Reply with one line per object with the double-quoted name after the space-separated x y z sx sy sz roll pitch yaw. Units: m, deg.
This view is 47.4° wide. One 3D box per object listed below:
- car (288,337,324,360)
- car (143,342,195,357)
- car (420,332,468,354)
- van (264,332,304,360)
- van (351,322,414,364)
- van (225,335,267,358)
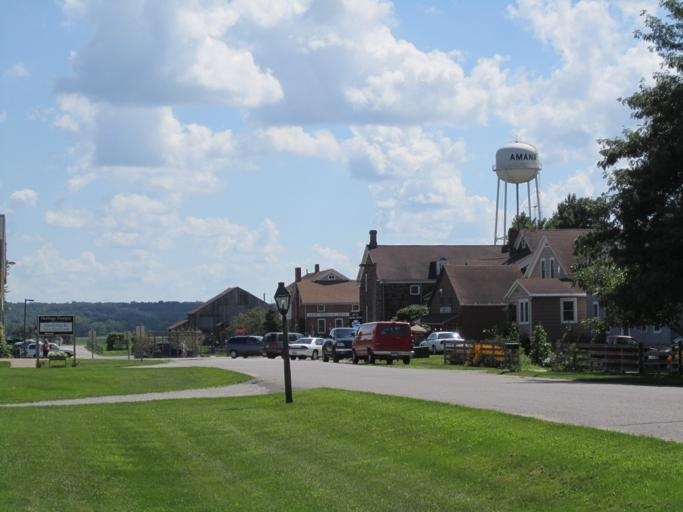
-2.442 6.495 54.110 2.488 1.413 2.054 -1 -2 -22 "car"
-16.599 8.725 72.464 3.131 1.170 5.662 -1 -3 -17 "car"
7.193 5.844 54.218 1.625 1.239 3.900 -2 0 -12 "car"
-4.585 7.052 59.185 2.018 1.957 3.963 -2 0 40 "van"
2.169 4.810 43.915 1.859 1.881 3.602 1 -2 -15 "van"
-7.629 7.280 62.622 3.109 1.478 1.669 -10 -7 31 "van"
